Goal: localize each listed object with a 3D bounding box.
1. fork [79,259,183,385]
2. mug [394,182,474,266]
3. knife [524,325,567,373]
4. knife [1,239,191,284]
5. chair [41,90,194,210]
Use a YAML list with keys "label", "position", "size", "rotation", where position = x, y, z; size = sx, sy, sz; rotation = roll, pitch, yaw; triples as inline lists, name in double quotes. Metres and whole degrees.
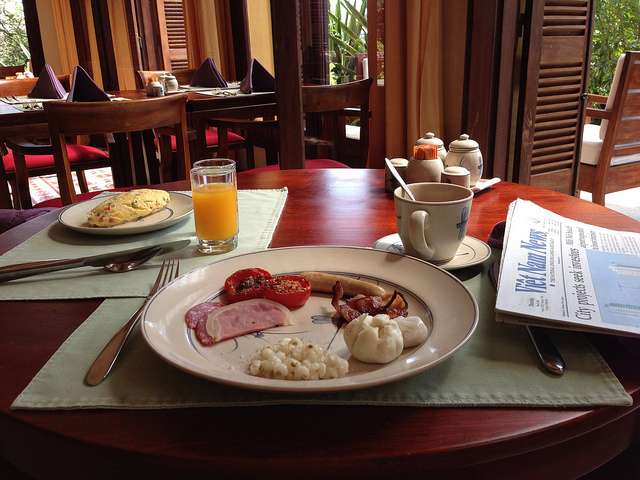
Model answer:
- label: "fork"
  position: [-0.229, 0.101, 0.589]
  size: [0.024, 0.022, 0.204]
  rotation: [-4, 28, 17]
- label: "mug"
  position: [0.176, -0.021, 0.729]
  size: [0.118, 0.104, 0.148]
  rotation: [5, 22, 23]
- label: "knife"
  position: [0.252, 0.118, 0.524]
  size: [0.021, 0.009, 0.107]
  rotation: [-1, 19, 10]
- label: "knife"
  position: [-0.363, 0.037, 0.744]
  size: [0.246, 0.021, 0.027]
  rotation: [-8, 20, -14]
- label: "chair"
  position: [-0.808, -0.367, 1.622]
  size: [0.417, 0.278, 0.311]
  rotation: [7, 39, 45]
